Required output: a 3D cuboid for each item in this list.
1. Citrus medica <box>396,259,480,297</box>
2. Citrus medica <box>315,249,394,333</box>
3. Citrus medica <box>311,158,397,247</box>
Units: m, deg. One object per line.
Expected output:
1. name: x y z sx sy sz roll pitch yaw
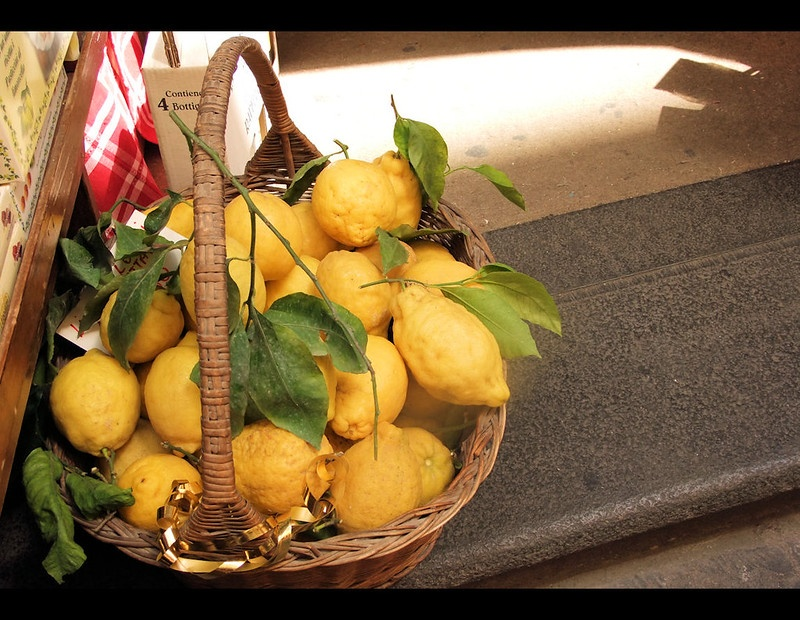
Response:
1. Citrus medica: 0.051 -0.054 1.041 0.082 0.043 0.061 -5 14 -35
2. Citrus medica: -0.082 -0.027 1.038 0.092 0.084 0.132 -39 79 18
3. Citrus medica: -0.059 -0.171 1.094 0.141 0.128 0.162 14 40 16
